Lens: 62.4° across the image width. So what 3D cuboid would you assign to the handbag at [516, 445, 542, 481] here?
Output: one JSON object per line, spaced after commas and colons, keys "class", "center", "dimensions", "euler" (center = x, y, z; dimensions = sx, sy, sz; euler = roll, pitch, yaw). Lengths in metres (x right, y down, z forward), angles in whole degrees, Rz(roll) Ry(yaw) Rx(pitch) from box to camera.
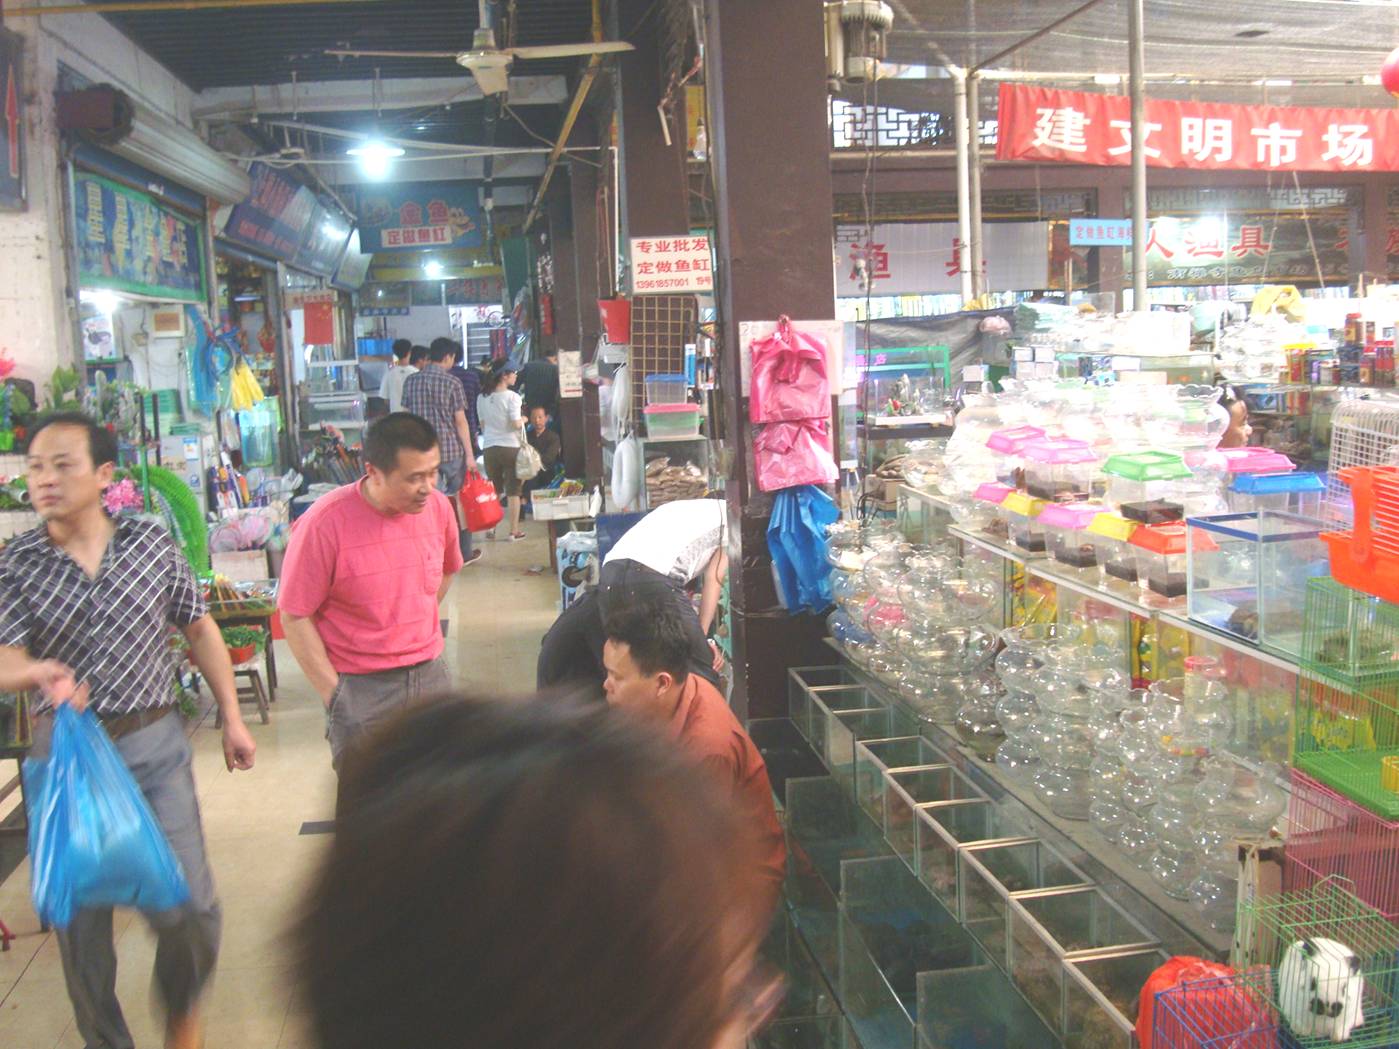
{"class": "handbag", "center": [-1.537, -0.550, 10.317], "dimensions": [0.177, 0.403, 0.378], "euler": [-1, 1, 9]}
